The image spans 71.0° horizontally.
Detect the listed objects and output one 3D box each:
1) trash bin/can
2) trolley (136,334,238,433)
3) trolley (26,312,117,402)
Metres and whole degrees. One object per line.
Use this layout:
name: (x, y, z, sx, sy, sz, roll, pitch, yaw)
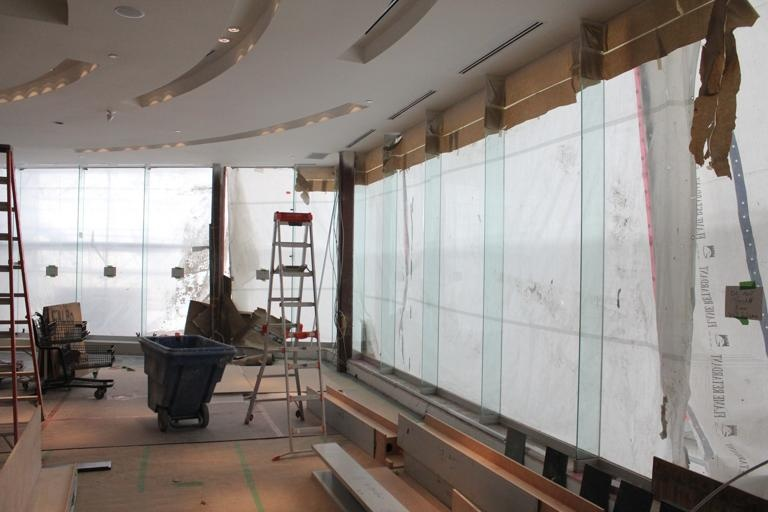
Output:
trash bin/can: (-2.593, 1.548, 6.833, 0.910, 1.092, 1.029, 9, 1, -39)
trolley: (-2.579, 1.544, 6.813, 0.862, 1.068, 1.051, 8, 3, -41)
trolley: (-4.760, 1.494, 8.206, 1.090, 1.188, 0.778, 4, -2, -42)
